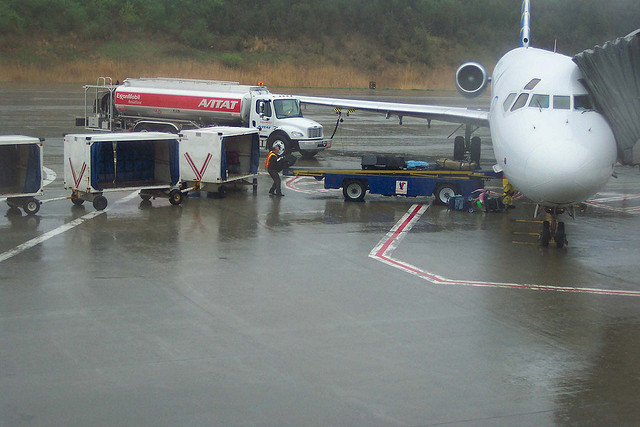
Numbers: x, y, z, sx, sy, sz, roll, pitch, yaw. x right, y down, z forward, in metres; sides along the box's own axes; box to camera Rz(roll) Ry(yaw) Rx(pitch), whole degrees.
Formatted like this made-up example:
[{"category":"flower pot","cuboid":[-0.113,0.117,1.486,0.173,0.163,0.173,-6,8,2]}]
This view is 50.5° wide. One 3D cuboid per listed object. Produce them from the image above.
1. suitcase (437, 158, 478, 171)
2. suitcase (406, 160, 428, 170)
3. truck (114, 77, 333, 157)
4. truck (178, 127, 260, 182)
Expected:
[{"category":"suitcase","cuboid":[5.220,-1.875,25.501,1.064,0.347,1.015,0,10,-7]},{"category":"suitcase","cuboid":[3.691,-1.860,25.587,0.707,0.214,0.566,1,4,1]},{"category":"truck","cuboid":[-7.299,-5.658,38.244,16.405,4.657,4.239,4,14,19]},{"category":"truck","cuboid":[-3.997,-2.403,27.130,2.277,1.722,3.532,4,11,15]}]
